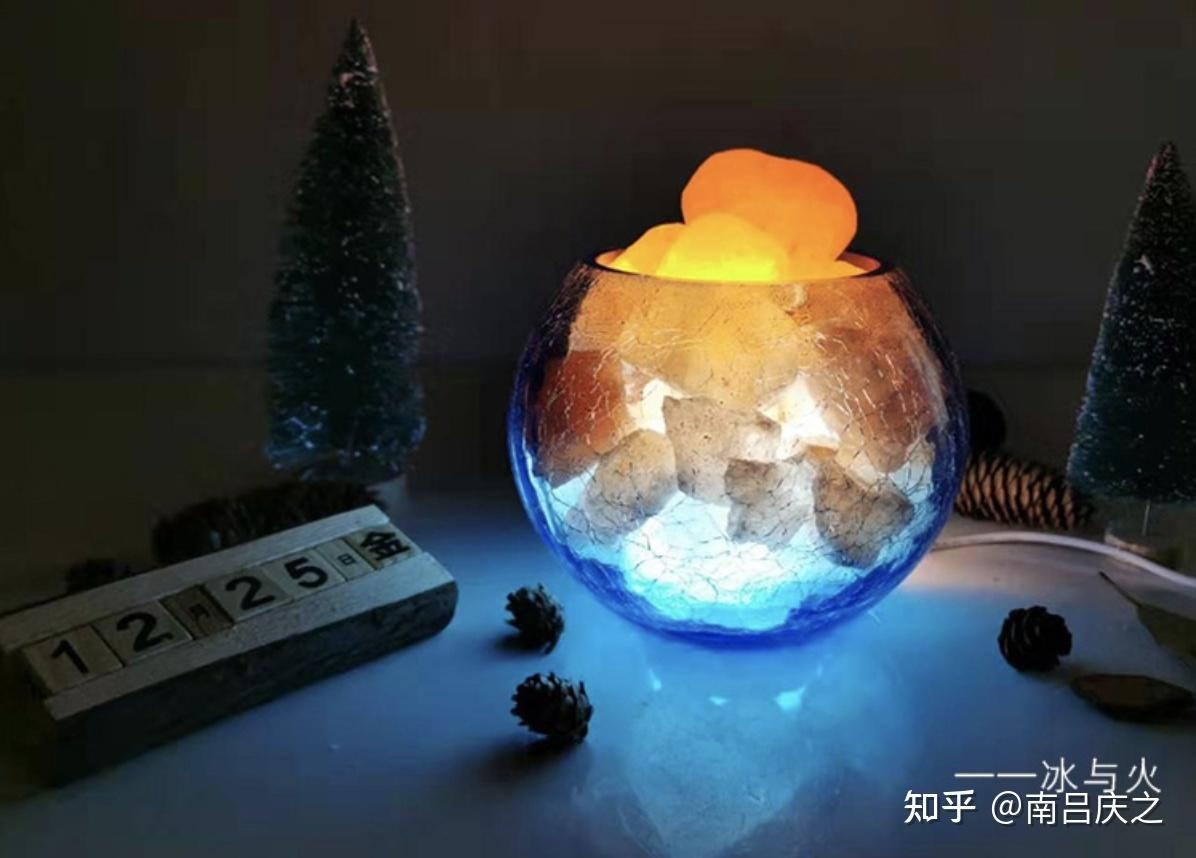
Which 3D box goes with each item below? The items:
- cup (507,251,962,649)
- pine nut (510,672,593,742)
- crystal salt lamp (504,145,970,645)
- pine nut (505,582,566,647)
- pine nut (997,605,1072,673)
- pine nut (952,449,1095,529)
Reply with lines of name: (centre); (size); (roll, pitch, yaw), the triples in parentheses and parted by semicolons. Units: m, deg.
cup: (0.139, 0.027, 1.199); (0.437, 0.347, 0.473); (2, 15, -1)
pine nut: (-0.039, 0.249, 1.066); (0.067, 0.063, 0.055); (18, 30, -13)
crystal salt lamp: (0.125, -0.038, 1.174); (0.404, 0.427, 0.380); (-3, 6, -29)
pine nut: (-0.060, 0.183, 1.136); (0.048, 0.056, 0.060); (-8, -11, 26)
pine nut: (0.415, 0.198, 1.102); (0.056, 0.048, 0.065); (0, -9, 5)
pine nut: (0.480, 0.072, 1.326); (0.141, 0.084, 0.068); (-5, -13, 32)
